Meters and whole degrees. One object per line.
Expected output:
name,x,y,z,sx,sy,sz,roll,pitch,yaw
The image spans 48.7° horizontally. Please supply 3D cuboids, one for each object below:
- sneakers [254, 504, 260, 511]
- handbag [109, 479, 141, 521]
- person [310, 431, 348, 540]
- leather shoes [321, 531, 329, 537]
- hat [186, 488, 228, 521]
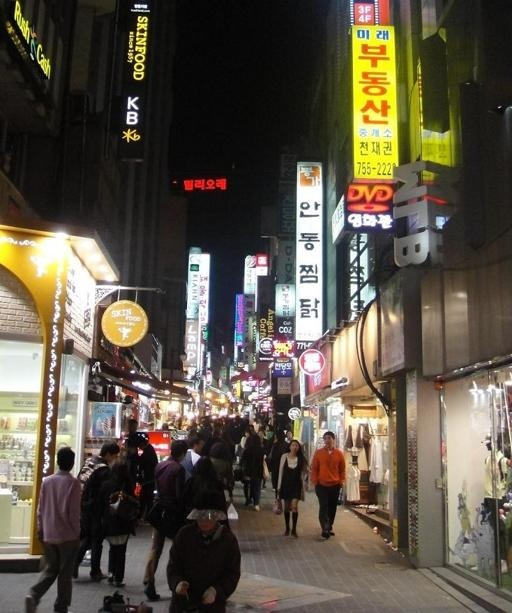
sneakers,0.008,4.930,13.868,0.100,0.138,0.303,-1,-24,-1
handbag,-1.387,2.083,5.970,0.305,0.275,0.224,5,-14,-14
person,1.281,3.224,10.355,0.592,1.857,0.855,-3,-14,19
leather shoes,1.195,3.974,9.833,0.119,0.122,0.119,1,-13,3
hat,-0.252,1.011,2.897,0.185,0.154,0.449,3,-14,-4
